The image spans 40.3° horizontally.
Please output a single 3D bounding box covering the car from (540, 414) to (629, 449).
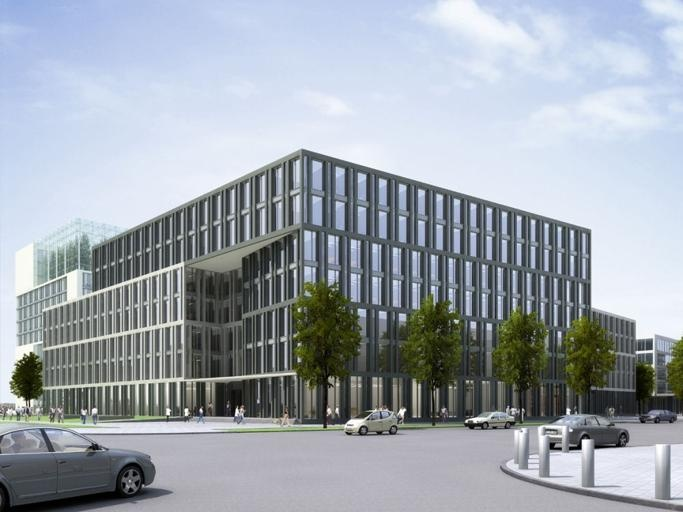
[{"bbox_3d":[10.380,7.506,39.623,2.324,1.423,4.678,-9,-13,32],"label":"car"}]

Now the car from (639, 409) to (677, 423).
[{"bbox_3d":[28.326,14.426,83.193,2.701,1.149,4.278,-7,-12,22],"label":"car"}]

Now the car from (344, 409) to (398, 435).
[{"bbox_3d":[1.704,9.344,51.971,3.458,1.352,0.990,8,-14,-41],"label":"car"}]

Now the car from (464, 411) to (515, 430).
[{"bbox_3d":[9.730,10.819,60.863,3.423,1.048,1.307,8,-15,-41],"label":"car"}]
